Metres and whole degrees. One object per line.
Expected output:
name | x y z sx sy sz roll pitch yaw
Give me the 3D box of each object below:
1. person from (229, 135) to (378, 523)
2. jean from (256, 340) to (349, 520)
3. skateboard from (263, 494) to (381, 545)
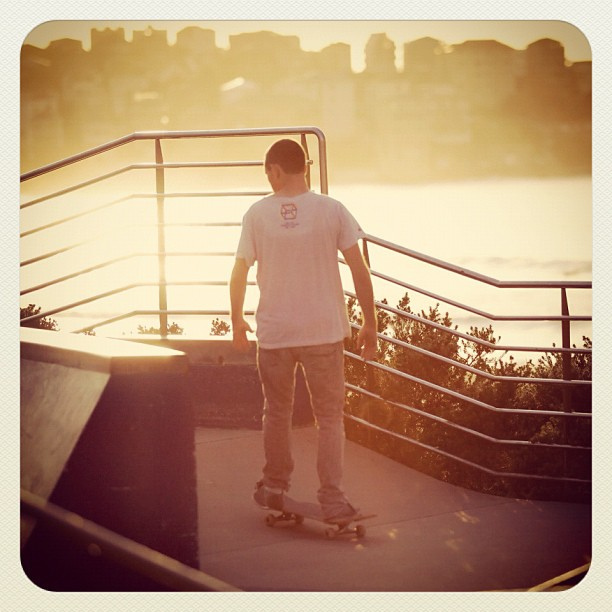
person | -0.033 0.076 2.664 0.639 1.459 0.363 5 10 8
jean | -0.020 0.434 2.727 0.399 1.020 0.244 2 22 6
skateboard | 0.045 0.823 2.682 0.164 0.131 0.658 2 -3 -36
